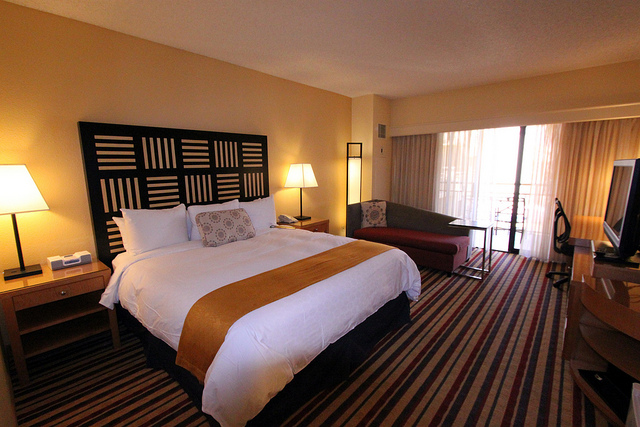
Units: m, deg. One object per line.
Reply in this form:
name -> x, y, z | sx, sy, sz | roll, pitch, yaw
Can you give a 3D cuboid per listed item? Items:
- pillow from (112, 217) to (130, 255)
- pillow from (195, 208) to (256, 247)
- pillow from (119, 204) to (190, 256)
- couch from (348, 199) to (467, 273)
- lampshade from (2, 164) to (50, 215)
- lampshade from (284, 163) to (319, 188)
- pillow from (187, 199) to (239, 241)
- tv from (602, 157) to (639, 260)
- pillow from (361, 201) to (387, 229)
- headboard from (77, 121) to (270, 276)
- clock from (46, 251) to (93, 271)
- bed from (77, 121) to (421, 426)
pillow -> -2.315, 0.256, 4.785 | 0.104, 0.351, 0.359 | -8, 5, -5
pillow -> -1.100, 0.121, 4.960 | 0.649, 0.452, 0.170 | -8, -19, -48
pillow -> -1.999, 0.195, 4.957 | 0.294, 0.614, 0.831 | 12, 13, 34
couch -> 1.385, 0.355, 6.633 | 1.830, 0.977, 0.906 | 7, 11, 35
lampshade -> -3.119, -0.281, 4.330 | 0.477, 0.454, 0.483 | 12, 17, 41
lampshade -> -0.289, -0.571, 6.273 | 0.411, 0.392, 0.390 | -1, 10, -3
pillow -> -1.385, 0.051, 5.132 | 0.523, 0.517, 0.209 | -7, -20, -48
tv -> 3.126, -0.066, 4.205 | 0.236, 0.992, 0.687 | 4, 12, 31
pillow -> 0.908, 0.045, 6.977 | 0.431, 0.428, 0.156 | 0, -6, -8
headboard -> -1.878, -0.154, 4.964 | 0.064, 1.338, 1.894 | 7, 10, 44
clock -> -2.808, 0.526, 4.578 | 0.423, 0.133, 0.256 | -8, 11, -32
bed -> -0.937, 0.798, 5.103 | 3.312, 2.643, 3.519 | 7, 12, 39
